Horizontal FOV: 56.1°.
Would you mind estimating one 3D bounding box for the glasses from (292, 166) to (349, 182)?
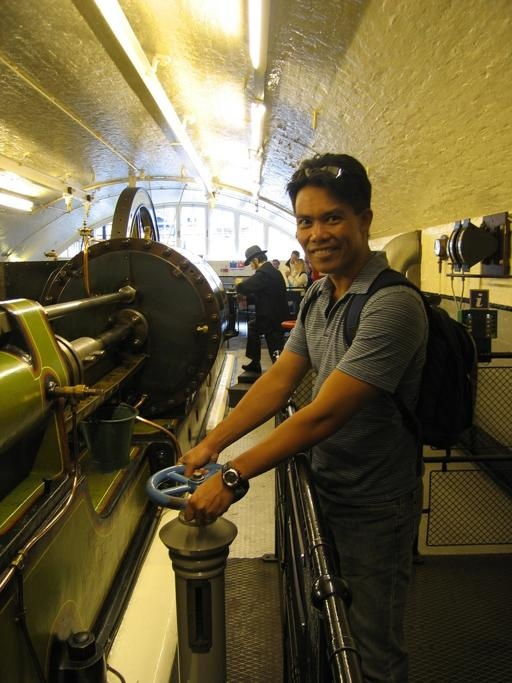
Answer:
[{"bbox_3d":[0.175,-0.432,1.233,0.070,0.020,0.071,1,2,33],"label":"glasses"}]

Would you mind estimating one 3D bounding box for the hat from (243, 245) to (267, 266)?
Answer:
[{"bbox_3d":[-0.034,-1.328,7.362,0.311,0.123,0.270,-36,-3,25],"label":"hat"}]

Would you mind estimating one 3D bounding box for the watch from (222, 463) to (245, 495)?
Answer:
[{"bbox_3d":[-0.048,0.313,1.101,0.058,0.083,0.042,-2,5,-4],"label":"watch"}]

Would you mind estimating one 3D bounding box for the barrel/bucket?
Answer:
[{"bbox_3d":[-0.666,0.421,2.187,0.248,0.245,0.277,6,20,20],"label":"barrel/bucket"}]
